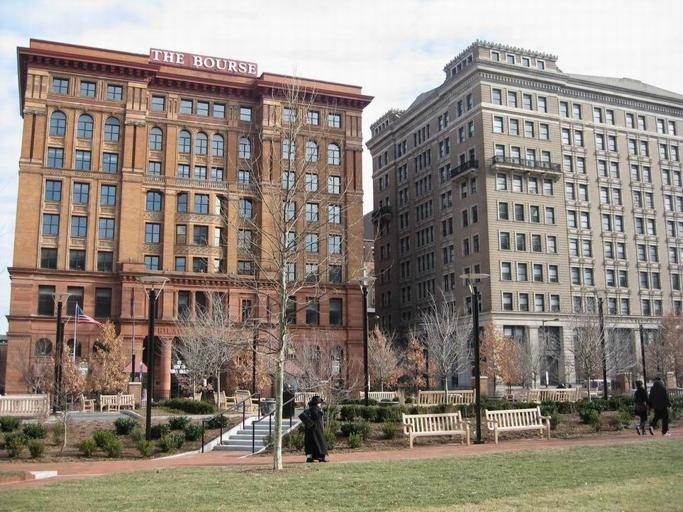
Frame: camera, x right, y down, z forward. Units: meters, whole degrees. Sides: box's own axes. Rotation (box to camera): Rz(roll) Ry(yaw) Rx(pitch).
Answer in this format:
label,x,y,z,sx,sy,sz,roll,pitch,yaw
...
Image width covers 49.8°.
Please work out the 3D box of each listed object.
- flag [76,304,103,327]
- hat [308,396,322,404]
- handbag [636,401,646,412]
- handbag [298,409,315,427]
label,x,y,z,sx,sy,sz,roll,pitch,yaw
flag,-22.840,5.473,66.517,2.259,1.773,0.169,3,-11,-16
hat,-0.933,5.249,26.643,0.586,0.210,0.606,1,-4,15
handbag,13.548,6.840,33.381,0.379,0.560,0.311,2,-40,10
handbag,-1.287,5.833,26.391,0.501,0.662,0.398,3,-14,-20
